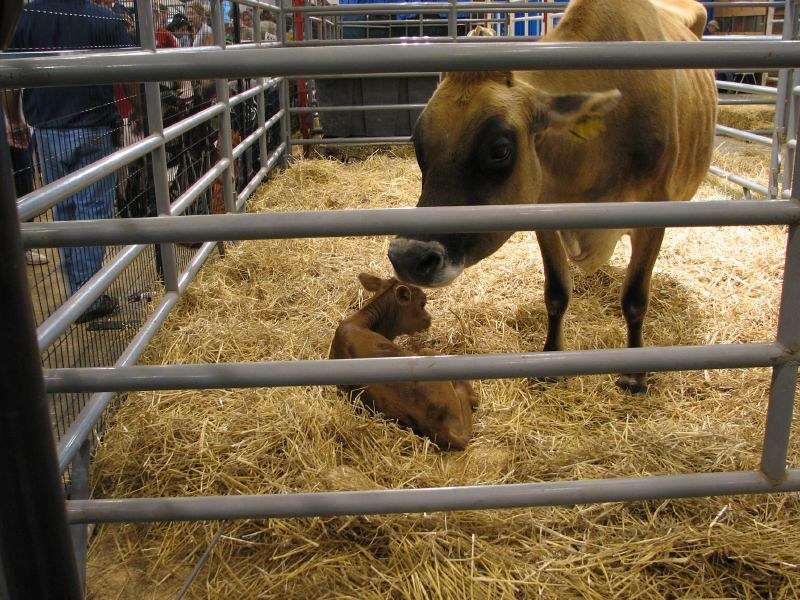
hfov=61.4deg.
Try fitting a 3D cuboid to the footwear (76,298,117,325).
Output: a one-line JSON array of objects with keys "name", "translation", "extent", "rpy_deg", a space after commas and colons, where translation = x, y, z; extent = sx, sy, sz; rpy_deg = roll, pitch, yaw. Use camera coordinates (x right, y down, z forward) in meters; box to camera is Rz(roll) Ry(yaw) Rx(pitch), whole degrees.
[{"name": "footwear", "translation": [-1.404, 0.054, 3.095], "extent": [0.110, 0.063, 0.169], "rpy_deg": [10, 41, 26]}]

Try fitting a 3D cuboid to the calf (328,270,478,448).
[{"name": "calf", "translation": [0.017, 0.198, 2.820], "extent": [0.368, 0.462, 0.943], "rpy_deg": [-16, 28, 11]}]
